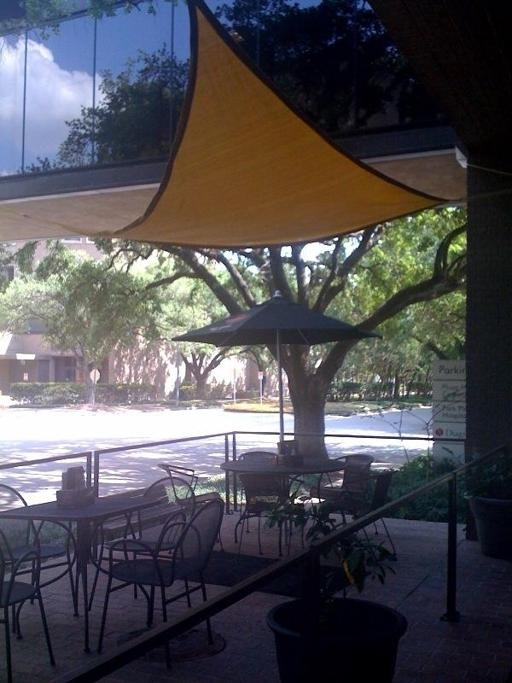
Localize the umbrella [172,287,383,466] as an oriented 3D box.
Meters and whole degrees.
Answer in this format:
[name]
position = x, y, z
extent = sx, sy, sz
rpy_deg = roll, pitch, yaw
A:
[umbrella]
position = 0.573, 1.050, 19.214
extent = 5.679, 4.051, 5.553
rpy_deg = -2, -9, 0
